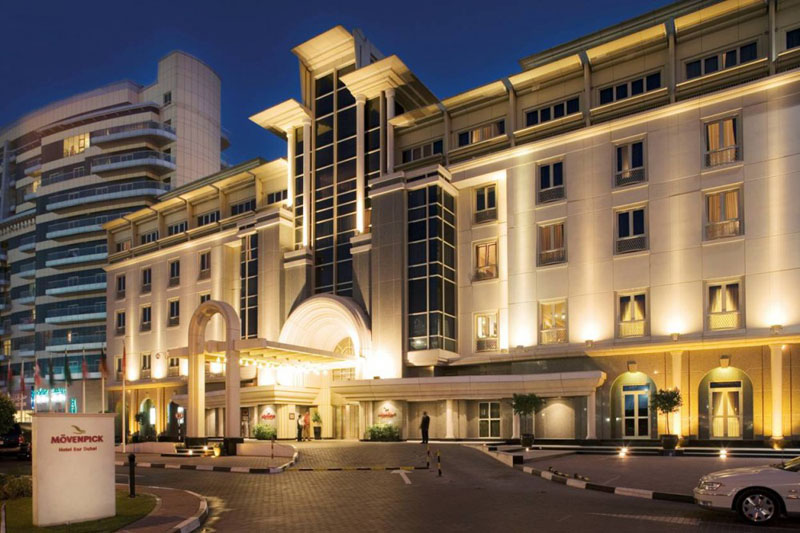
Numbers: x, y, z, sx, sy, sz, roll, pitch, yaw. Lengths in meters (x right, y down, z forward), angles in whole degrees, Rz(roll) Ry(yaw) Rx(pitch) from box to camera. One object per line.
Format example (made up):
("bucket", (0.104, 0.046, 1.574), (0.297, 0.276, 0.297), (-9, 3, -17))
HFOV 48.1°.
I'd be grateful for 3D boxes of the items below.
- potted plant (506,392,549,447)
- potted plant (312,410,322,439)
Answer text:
("potted plant", (7.970, 9.906, 57.529), (2.477, 3.350, 2.537), (-2, -15, -16))
("potted plant", (-6.720, 12.683, 72.513), (0.839, 2.412, 0.982), (-6, -16, 21))
